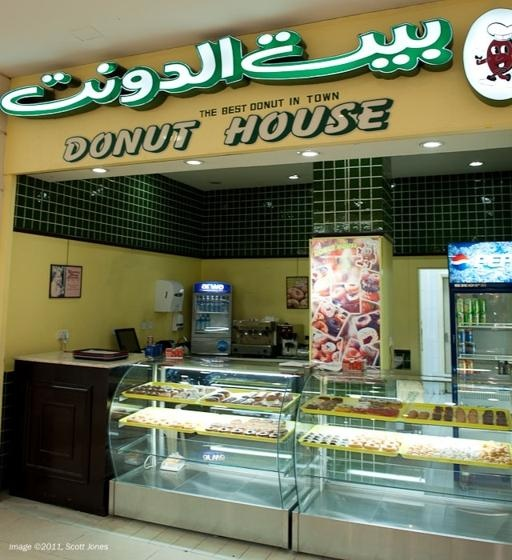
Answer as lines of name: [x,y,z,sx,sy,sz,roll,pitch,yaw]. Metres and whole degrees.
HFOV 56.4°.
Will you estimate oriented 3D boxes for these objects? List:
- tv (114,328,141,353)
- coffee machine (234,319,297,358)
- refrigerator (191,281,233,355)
tv: [-1.462,0.680,5.419,0.064,0.223,0.349,-22,-7,16]
coffee machine: [0.185,0.786,6.833,0.969,0.466,0.585,2,0,20]
refrigerator: [-0.619,0.512,6.936,0.533,1.057,0.454,1,0,17]
